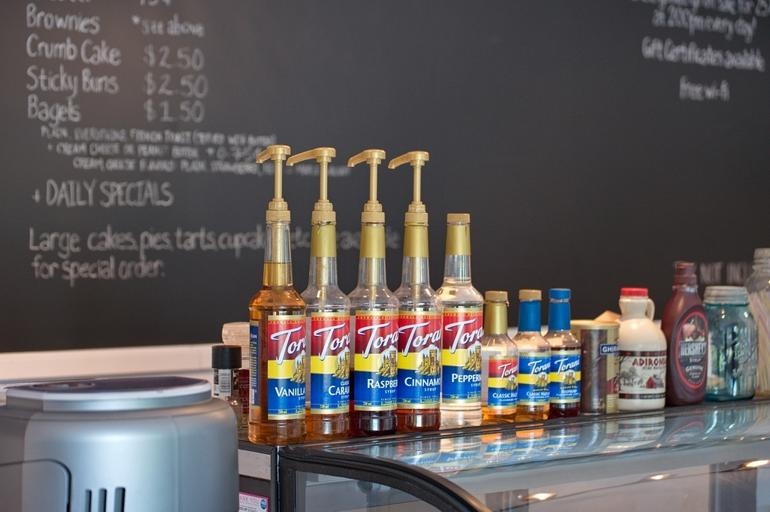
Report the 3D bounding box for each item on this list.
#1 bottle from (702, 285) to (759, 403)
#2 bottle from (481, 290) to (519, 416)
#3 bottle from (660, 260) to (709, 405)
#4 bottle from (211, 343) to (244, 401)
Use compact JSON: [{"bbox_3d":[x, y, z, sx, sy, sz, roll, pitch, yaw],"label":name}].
[{"bbox_3d":[0.841,0.211,2.450,0.139,0.278,0.059,-4,-10,4],"label":"bottle"},{"bbox_3d":[0.253,0.225,2.243,0.091,0.286,0.109,-3,-10,-3],"label":"bottle"},{"bbox_3d":[0.714,0.184,2.397,0.111,0.339,0.082,-5,-10,11],"label":"bottle"},{"bbox_3d":[-0.338,0.251,2.154,0.062,0.120,0.070,-2,-10,-9],"label":"bottle"}]
